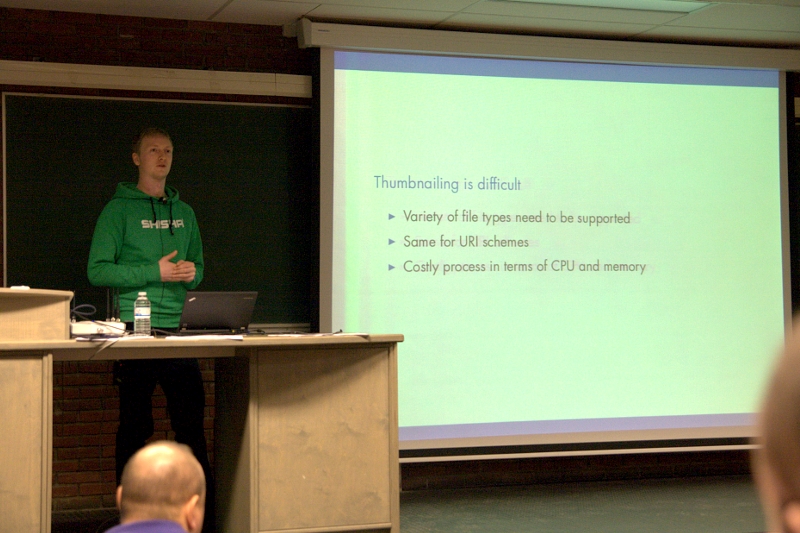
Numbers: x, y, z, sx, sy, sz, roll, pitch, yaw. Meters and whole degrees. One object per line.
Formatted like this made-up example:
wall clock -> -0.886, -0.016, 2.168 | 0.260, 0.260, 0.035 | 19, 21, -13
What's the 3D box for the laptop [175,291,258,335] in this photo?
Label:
laptop -> -1.009, 0.244, 4.684 | 0.298, 0.178, 0.264 | 3, -1, -20
